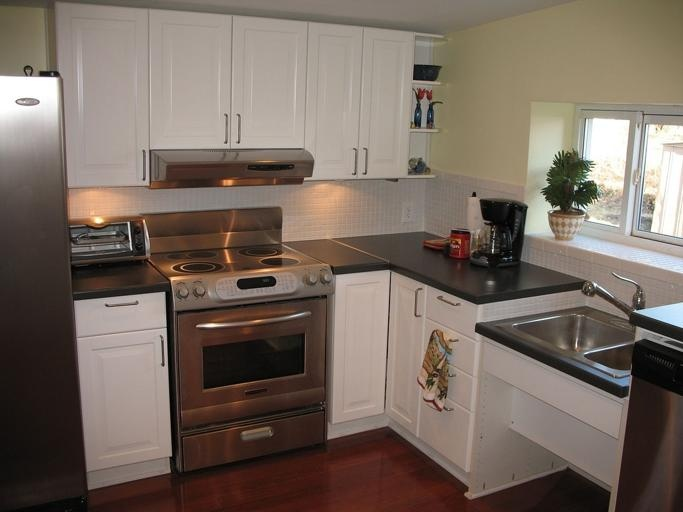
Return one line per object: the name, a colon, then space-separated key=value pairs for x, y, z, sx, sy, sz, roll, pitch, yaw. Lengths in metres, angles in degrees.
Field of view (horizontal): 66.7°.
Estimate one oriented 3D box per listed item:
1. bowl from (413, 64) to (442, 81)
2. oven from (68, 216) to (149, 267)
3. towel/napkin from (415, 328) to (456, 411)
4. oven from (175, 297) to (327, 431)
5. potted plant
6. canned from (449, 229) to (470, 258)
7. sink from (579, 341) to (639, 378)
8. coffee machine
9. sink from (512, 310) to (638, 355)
bowl: x=0.601 y=-1.298 z=3.677 sx=0.150 sy=0.053 sz=0.148 roll=0 pitch=12 yaw=0
oven: x=-1.386 y=-0.071 z=3.102 sx=0.442 sy=0.251 sz=0.300 roll=-7 pitch=-1 yaw=-19
towel/napkin: x=0.537 y=0.650 z=2.941 sx=0.193 sy=0.457 sz=0.146 roll=12 pitch=18 yaw=41
oven: x=-0.617 y=0.551 z=3.332 sx=0.999 sy=0.846 sz=0.682 roll=-5 pitch=10 yaw=-24
potted plant: x=1.408 y=-0.378 z=3.201 sx=0.328 sy=0.538 sz=0.294 roll=5 pitch=15 yaw=22
canned: x=0.759 y=-0.074 z=3.440 sx=0.166 sy=0.179 sz=0.168 roll=5 pitch=14 yaw=22
sink: x=1.282 y=0.507 z=2.491 sx=0.230 sy=0.081 sz=0.183 roll=-5 pitch=12 yaw=-24
coffee machine: x=0.931 y=-0.161 z=3.340 sx=0.416 sy=0.501 sz=0.372 roll=-2 pitch=7 yaw=-21
sink: x=1.241 y=0.431 z=2.772 sx=0.331 sy=0.201 sz=0.327 roll=-11 pitch=21 yaw=-21
